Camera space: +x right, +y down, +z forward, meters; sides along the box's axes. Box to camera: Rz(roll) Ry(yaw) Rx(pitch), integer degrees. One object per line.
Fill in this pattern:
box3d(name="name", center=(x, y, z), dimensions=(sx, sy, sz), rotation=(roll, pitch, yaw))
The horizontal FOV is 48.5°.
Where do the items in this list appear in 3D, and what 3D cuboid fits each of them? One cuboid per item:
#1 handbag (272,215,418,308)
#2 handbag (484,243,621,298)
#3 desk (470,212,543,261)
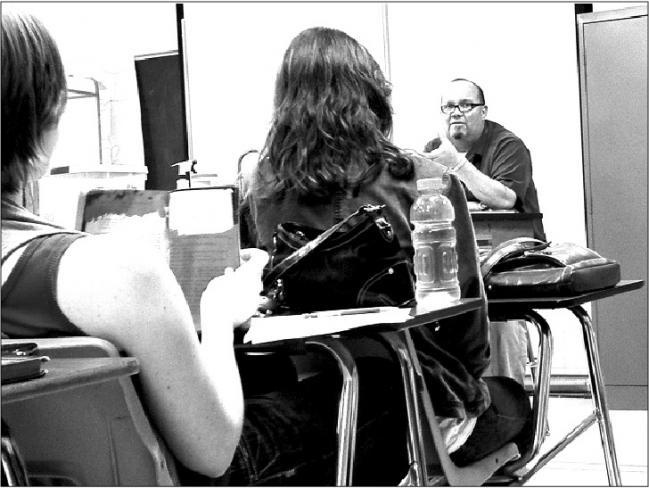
box3d(name="handbag", center=(0.032, 0.048, 1.716), dimensions=(0.283, 0.197, 0.228), rotation=(-3, 3, 1))
box3d(name="handbag", center=(0.644, 0.085, 2.067), dimensions=(0.198, 0.084, 0.226), rotation=(-10, -1, 26))
box3d(name="desk", center=(0.794, 0.042, 3.179), dimensions=(0.303, 0.328, 0.219), rotation=(-1, -3, 35))
